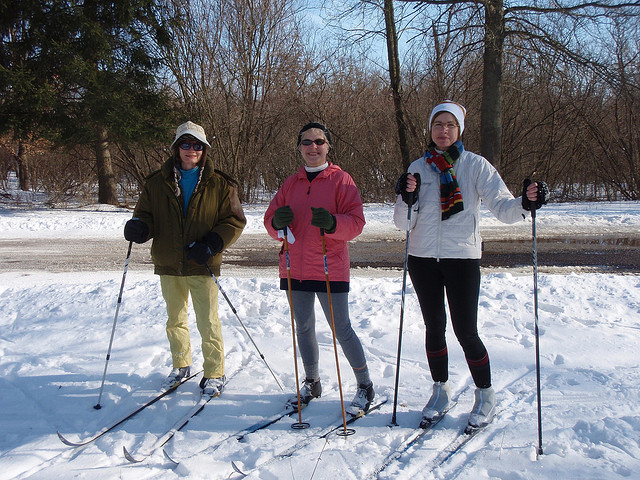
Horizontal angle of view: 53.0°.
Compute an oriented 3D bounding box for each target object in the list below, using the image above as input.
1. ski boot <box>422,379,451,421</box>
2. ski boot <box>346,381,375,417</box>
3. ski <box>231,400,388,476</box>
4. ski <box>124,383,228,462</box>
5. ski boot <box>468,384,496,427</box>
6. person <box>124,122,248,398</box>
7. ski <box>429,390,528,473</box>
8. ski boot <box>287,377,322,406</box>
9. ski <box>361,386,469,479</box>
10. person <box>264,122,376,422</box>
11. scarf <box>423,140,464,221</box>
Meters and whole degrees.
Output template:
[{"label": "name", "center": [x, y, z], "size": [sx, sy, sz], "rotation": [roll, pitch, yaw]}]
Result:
[{"label": "ski boot", "center": [1.506, 2.031, 8.201], "size": [0.194, 0.446, 0.600], "rotation": [5, 12, 34]}, {"label": "ski boot", "center": [0.555, 2.054, 8.340], "size": [0.213, 0.312, 0.697], "rotation": [-4, 13, 28]}, {"label": "ski", "center": [-0.110, 2.481, 7.904], "size": [1.337, 0.176, 0.144], "rotation": [-29, 23, -18]}, {"label": "ski", "center": [-1.835, 2.367, 8.148], "size": [0.113, 0.143, 1.034], "rotation": [16, 48, 39]}, {"label": "ski boot", "center": [2.059, 2.069, 8.112], "size": [0.208, 0.497, 0.661], "rotation": [-1, 9, 37]}, {"label": "person", "center": [-1.764, 0.251, 8.681], "size": [1.405, 3.656, 0.582], "rotation": [1, 5, 1]}, {"label": "ski", "center": [1.937, 2.397, 7.884], "size": [1.372, 0.079, 0.192], "rotation": [-33, 49, -30]}, {"label": "ski boot", "center": [-0.184, 2.001, 8.470], "size": [0.562, 0.384, 0.203], "rotation": [-6, -2, -11]}, {"label": "ski", "center": [1.170, 2.429, 7.906], "size": [0.187, 0.108, 1.713], "rotation": [18, 39, 40]}, {"label": "person", "center": [-0.001, 0.389, 8.293], "size": [1.351, 3.773, 0.572], "rotation": [1, 5, 4]}, {"label": "scarf", "center": [1.572, -0.760, 8.112], "size": [0.502, 1.020, 0.265], "rotation": [1, 5, 8]}]
